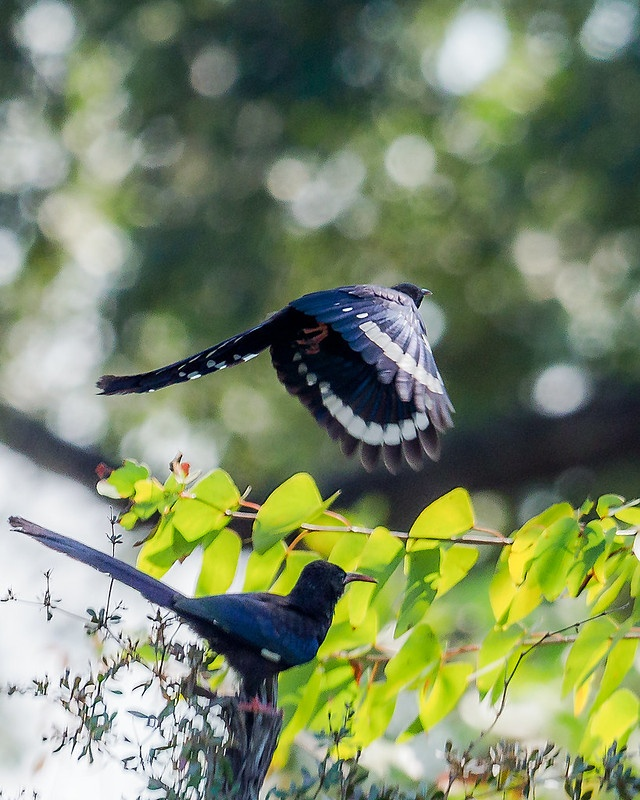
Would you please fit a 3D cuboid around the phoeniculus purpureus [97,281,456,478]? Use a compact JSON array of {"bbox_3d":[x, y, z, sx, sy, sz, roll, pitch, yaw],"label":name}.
[{"bbox_3d":[-0.029,-0.026,1.780,0.313,0.131,0.238,2,0,-20],"label":"phoeniculus purpureus"}]
